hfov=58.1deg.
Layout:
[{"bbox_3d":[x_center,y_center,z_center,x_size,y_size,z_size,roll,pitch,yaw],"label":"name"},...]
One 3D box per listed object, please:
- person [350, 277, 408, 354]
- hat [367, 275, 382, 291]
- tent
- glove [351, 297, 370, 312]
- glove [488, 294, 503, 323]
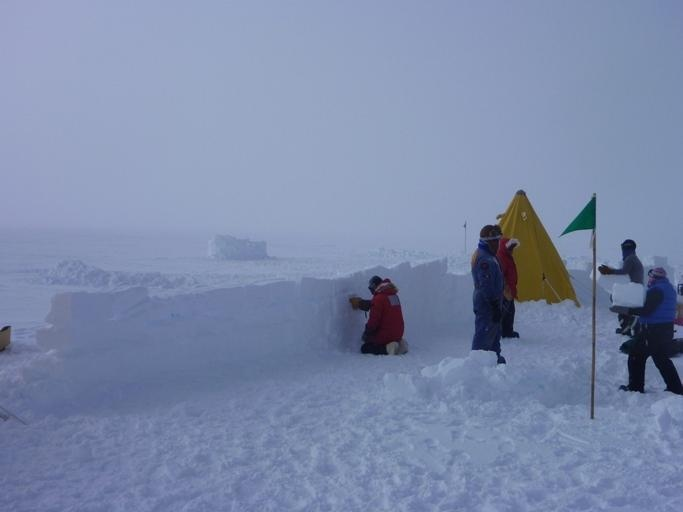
[{"bbox_3d":[0.570,0.903,9.271,0.784,1.198,0.666,1,-1,16],"label":"person"},{"bbox_3d":[0.547,0.415,9.315,0.166,0.238,0.211,-8,-5,-31],"label":"hat"},{"bbox_3d":[2.818,0.084,9.490,1.468,1.819,0.980,-9,-4,-15],"label":"tent"},{"bbox_3d":[0.306,0.753,9.485,0.197,0.121,0.242,4,4,-43],"label":"glove"},{"bbox_3d":[2.020,0.689,7.969,0.161,0.320,0.111,-3,6,-28],"label":"glove"}]
